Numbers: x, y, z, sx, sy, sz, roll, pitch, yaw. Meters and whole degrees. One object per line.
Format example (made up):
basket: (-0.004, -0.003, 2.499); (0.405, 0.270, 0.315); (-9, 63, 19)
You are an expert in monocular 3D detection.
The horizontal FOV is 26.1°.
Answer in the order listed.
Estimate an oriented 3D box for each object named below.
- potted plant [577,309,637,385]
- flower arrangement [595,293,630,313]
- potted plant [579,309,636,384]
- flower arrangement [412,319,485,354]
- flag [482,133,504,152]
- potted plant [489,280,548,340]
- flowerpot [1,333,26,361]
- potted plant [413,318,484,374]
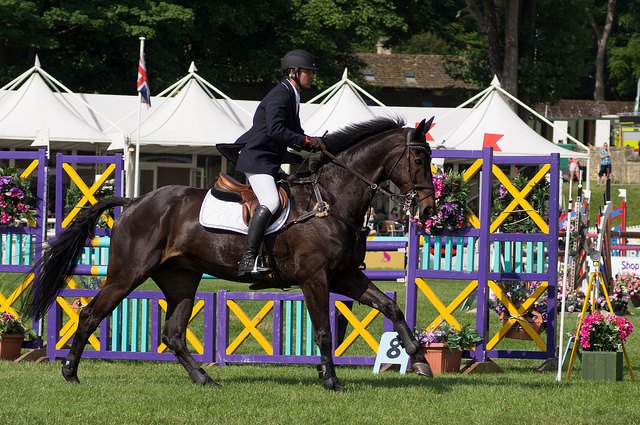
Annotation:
potted plant: (7.025, 3.214, 33.705); (1.729, 2.036, 1.869); (0, -2, 18)
flower arrangement: (8.136, 2.545, 38.444); (1.124, 0.709, 1.086); (1, -3, 13)
potted plant: (6.894, 3.220, 33.535); (1.863, 2.165, 1.608); (1, 0, 11)
flower arrangement: (3.011, 3.087, 33.659); (1.549, 0.574, 1.114); (3, 11, 16)
flag: (5.715, -2.331, 45.849); (0.642, 0.494, 1.048); (2, 1, 6)
potted plant: (4.974, 2.555, 34.745); (1.552, 1.425, 1.775); (0, 1, 13)
flowerpot: (-7.652, 3.377, 34.317); (0.707, 0.510, 0.606); (4, -12, -23)
potted plant: (3.018, 3.285, 33.985); (1.418, 0.822, 1.360); (0, -4, 1)
